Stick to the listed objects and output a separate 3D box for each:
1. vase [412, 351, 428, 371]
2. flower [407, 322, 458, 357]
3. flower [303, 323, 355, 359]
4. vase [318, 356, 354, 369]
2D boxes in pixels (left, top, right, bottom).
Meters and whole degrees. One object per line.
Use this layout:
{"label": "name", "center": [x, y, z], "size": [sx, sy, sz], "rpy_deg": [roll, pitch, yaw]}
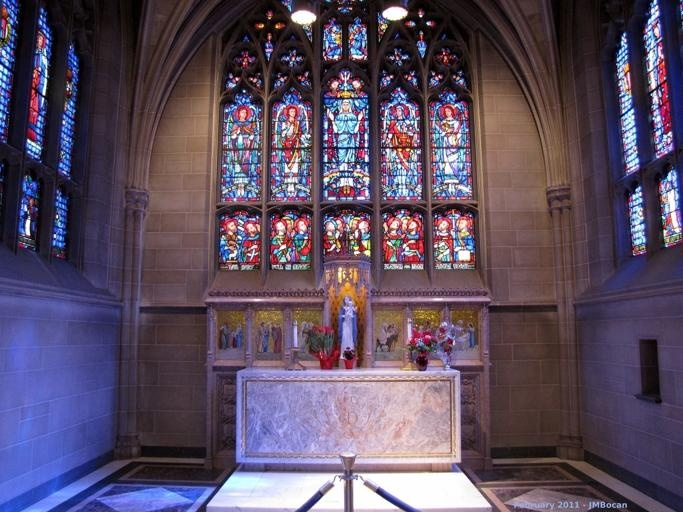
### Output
{"label": "vase", "center": [1.311, 1.740, 10.332], "size": [0.236, 0.326, 0.258], "rpy_deg": [-2, -4, -7]}
{"label": "flower", "center": [1.460, 1.448, 10.616], "size": [0.567, 0.464, 0.613], "rpy_deg": [3, -6, -14]}
{"label": "flower", "center": [-0.266, 1.428, 10.738], "size": [0.888, 0.545, 0.629], "rpy_deg": [-5, -8, 18]}
{"label": "vase", "center": [-0.105, 1.811, 10.521], "size": [0.374, 0.127, 0.298], "rpy_deg": [7, -15, -19]}
